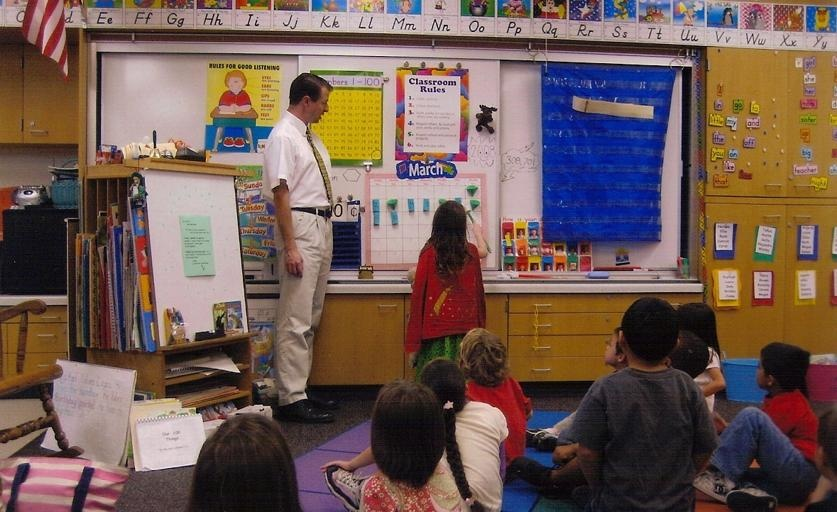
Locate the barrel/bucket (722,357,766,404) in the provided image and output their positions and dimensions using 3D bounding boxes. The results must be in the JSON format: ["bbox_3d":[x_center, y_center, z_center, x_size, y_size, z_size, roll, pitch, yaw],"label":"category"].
[{"bbox_3d":[2.913,1.119,8.049,0.372,0.325,0.204,1,4,7],"label":"barrel/bucket"}]

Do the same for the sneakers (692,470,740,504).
[{"bbox_3d":[2.036,1.591,6.295,0.417,0.170,0.152,12,6,20],"label":"sneakers"}]

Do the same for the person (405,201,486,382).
[{"bbox_3d":[0.220,0.384,7.063,0.722,1.518,0.398,-3,16,-13],"label":"person"}]

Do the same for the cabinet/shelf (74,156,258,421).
[{"bbox_3d":[-2.113,0.333,7.297,0.977,1.945,1.129,-4,1,27],"label":"cabinet/shelf"}]

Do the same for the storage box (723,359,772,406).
[{"bbox_3d":[2.911,1.104,8.175,0.487,0.411,0.593,-1,-4,2],"label":"storage box"}]

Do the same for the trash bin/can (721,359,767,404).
[{"bbox_3d":[2.848,1.155,8.071,0.440,0.378,0.245,10,-20,-20],"label":"trash bin/can"}]

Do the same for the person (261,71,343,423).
[{"bbox_3d":[-0.966,-0.075,7.324,0.565,2.805,0.546,-1,4,-28],"label":"person"}]

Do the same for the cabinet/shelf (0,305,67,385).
[{"bbox_3d":[-3.095,0.708,7.170,0.693,0.623,0.445,-2,-1,-12],"label":"cabinet/shelf"}]

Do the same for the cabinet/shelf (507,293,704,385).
[{"bbox_3d":[1.431,0.700,8.179,1.813,0.991,0.581,-1,6,-23],"label":"cabinet/shelf"}]

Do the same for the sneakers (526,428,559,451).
[{"bbox_3d":[0.924,1.393,6.784,0.156,0.058,0.152,-1,5,-15],"label":"sneakers"}]

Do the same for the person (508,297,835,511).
[{"bbox_3d":[1.794,0.978,6.142,1.750,1.445,0.840,-1,4,-22],"label":"person"}]

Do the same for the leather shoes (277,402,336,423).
[{"bbox_3d":[-0.934,1.274,7.312,0.500,0.199,0.181,1,0,7],"label":"leather shoes"}]
